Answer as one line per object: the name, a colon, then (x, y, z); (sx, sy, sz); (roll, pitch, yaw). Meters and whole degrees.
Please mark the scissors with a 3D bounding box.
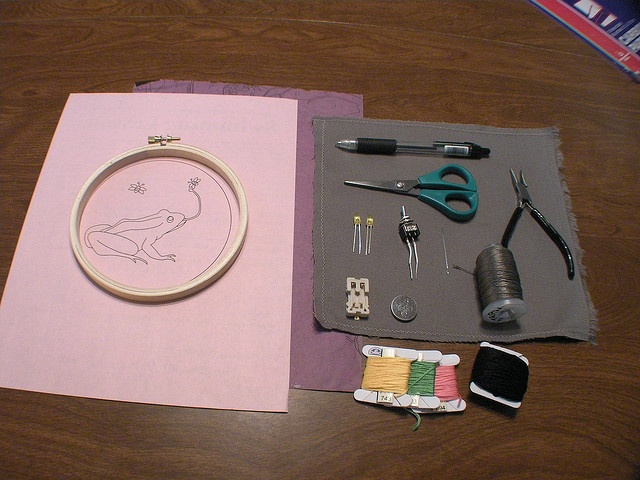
scissors: (0.310, -0.169, 1.874); (0.447, 0.054, 0.188); (2, 70, 1)
